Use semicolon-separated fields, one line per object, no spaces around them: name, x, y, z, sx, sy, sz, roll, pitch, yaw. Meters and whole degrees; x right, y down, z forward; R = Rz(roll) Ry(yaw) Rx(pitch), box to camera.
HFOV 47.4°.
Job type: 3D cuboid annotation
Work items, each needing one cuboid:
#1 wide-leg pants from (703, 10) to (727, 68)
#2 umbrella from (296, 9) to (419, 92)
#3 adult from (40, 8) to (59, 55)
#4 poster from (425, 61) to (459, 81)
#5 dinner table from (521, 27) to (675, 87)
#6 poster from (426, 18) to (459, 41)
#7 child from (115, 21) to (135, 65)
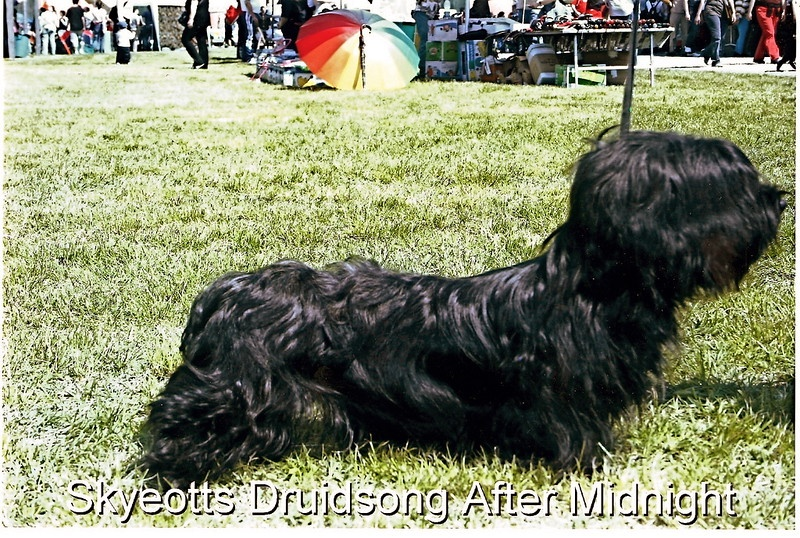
wide-leg pants;5.318;-3.961;15.424;0.256;0.849;0.346;5;19;24
umbrella;-0.530;-3.227;13.001;1.753;0.695;1.915;-11;41;-18
adult;-9.162;-6.210;23.626;0.359;1.261;2.925;-2;14;-20
poster;0.780;-3.968;18.073;0.721;0.303;0.438;5;13;13
dinner table;3.180;-3.506;14.821;2.373;1.056;1.740;2;13;-1
poster;0.839;-4.827;18.434;0.622;0.424;0.567;2;13;2
child;-6.137;-5.024;20.270;0.370;0.966;0.296;-5;-5;1
